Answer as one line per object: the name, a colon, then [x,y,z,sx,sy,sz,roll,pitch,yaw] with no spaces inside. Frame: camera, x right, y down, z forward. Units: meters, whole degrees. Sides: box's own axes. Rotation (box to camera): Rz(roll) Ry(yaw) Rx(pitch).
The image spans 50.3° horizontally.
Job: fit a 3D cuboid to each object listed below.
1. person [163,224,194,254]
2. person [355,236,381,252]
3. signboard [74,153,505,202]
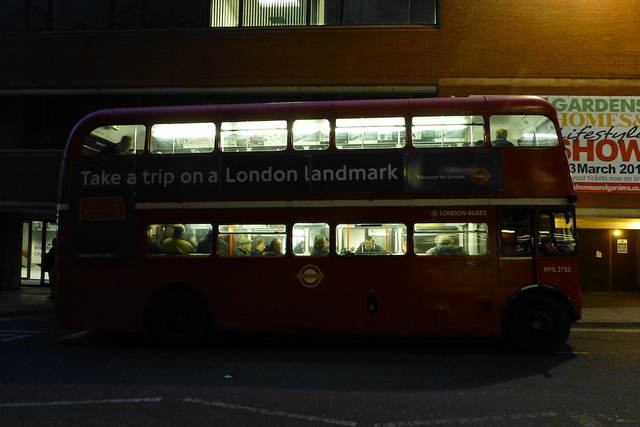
person: [-3.870,0.682,18.261,1.003,0.862,0.525,3,-9,22]
person: [1.273,0.892,17.845,0.782,0.447,0.320,0,-5,2]
signboard: [-0.716,-0.984,17.805,10.717,1.214,0.143,-2,-5,3]
